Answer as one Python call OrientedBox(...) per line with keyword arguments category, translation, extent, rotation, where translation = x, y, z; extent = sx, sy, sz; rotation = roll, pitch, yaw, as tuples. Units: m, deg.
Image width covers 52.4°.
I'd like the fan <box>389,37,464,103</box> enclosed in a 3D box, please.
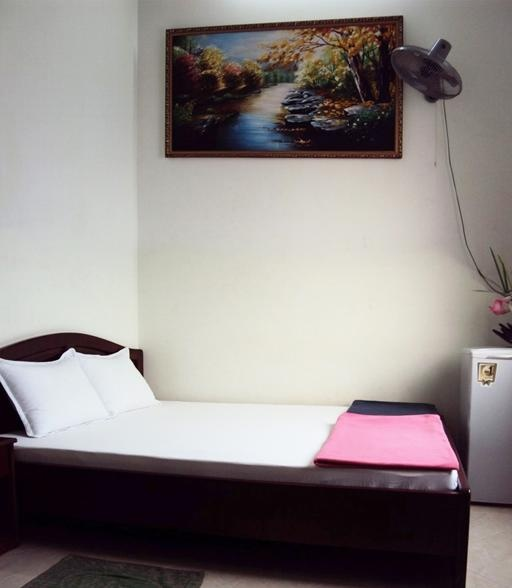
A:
OrientedBox(category="fan", translation=(0.975, -1.267, 2.989), extent=(0.363, 0.177, 0.433), rotation=(0, -1, 24))
